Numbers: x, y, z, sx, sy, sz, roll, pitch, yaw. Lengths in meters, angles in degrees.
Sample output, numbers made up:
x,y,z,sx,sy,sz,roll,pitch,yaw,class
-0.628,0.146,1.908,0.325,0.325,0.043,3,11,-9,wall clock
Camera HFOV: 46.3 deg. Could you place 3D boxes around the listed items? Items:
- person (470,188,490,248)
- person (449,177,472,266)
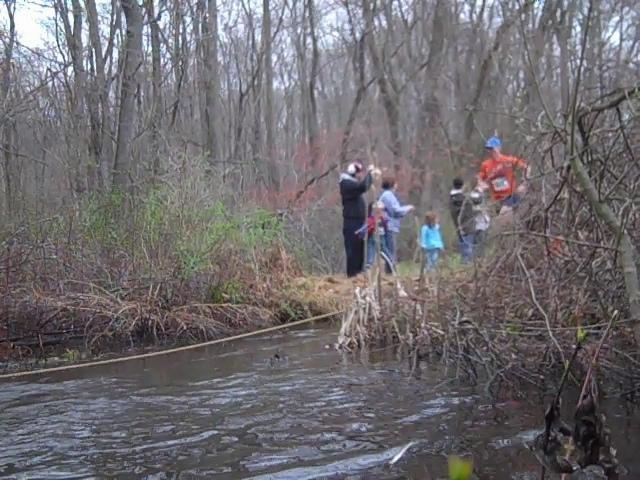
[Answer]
x,y,z,sx,sy,sz,roll,pitch,yaw,class
2.097,-0.312,10.057,0.294,0.842,0.260,-24,34,-21,person
2.459,-0.230,12.660,0.431,1.682,0.525,-7,3,12,person
